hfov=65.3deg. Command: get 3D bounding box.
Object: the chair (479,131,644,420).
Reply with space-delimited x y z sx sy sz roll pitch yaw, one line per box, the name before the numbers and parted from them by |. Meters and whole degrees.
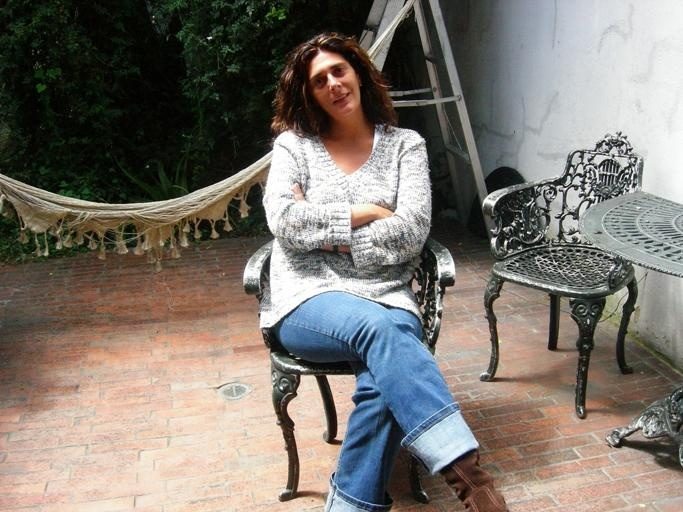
chair | 1.177 0.039 2.738 0.756 1.157 0.745 -18 20 -26
